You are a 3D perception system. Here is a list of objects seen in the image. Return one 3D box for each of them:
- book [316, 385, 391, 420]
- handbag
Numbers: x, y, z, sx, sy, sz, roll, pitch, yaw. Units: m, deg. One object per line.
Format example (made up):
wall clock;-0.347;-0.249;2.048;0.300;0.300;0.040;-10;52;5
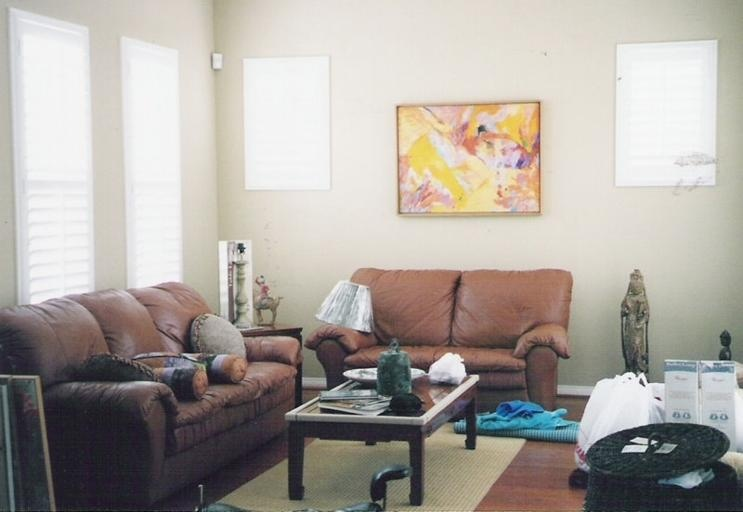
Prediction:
book;-0.115;0.887;3.817;0.454;0.090;0.241;0;6;14
handbag;1.484;0.968;3.780;0.521;0.332;0.749;0;-2;16
